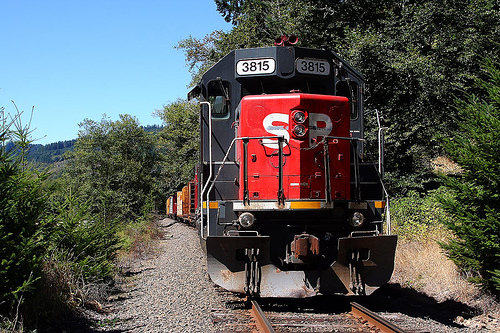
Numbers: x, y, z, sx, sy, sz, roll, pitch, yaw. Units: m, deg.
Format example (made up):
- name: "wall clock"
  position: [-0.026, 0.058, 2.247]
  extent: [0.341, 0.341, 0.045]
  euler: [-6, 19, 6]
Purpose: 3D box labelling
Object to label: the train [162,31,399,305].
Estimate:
- name: "train"
  position: [0.980, -0.030, 9.180]
  extent: [4.385, 6.870, 1.777]
  euler: [0, -5, -7]
